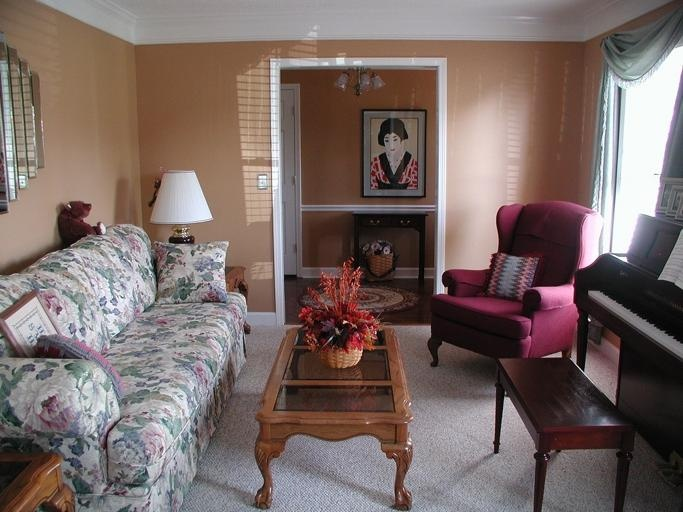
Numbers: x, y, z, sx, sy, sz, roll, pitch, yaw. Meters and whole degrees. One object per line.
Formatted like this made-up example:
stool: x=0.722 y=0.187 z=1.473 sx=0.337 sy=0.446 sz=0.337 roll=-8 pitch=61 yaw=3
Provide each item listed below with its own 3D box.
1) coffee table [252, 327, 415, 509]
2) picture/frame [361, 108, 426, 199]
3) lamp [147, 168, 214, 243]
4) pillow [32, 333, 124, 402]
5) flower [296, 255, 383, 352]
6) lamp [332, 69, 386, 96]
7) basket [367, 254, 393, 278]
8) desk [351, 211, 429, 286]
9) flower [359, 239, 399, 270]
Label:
coffee table: x=-0.032 y=0.789 z=2.768 sx=0.676 sy=0.437 sz=0.937 roll=-1 pitch=14 yaw=1
picture/frame: x=0.643 y=-1.336 z=6.397 sx=1.049 sy=1.449 sz=0.050 roll=0 pitch=16 yaw=2
lamp: x=-1.236 y=-0.470 z=4.470 sx=0.561 sy=0.798 sz=0.596 roll=-1 pitch=9 yaw=-1
pillow: x=-1.243 y=0.574 z=2.424 sx=0.343 sy=0.127 sz=0.331 roll=21 pitch=-4 yaw=-43
flower: x=-0.053 y=0.357 z=3.209 sx=0.599 sy=0.738 sz=0.712 roll=4 pitch=0 yaw=-9
lamp: x=0.165 y=-1.932 z=5.685 sx=0.472 sy=0.354 sz=0.482 roll=13 pitch=20 yaw=36
basket: x=0.454 y=0.098 z=6.454 sx=0.403 sy=0.398 sz=0.227 roll=0 pitch=4 yaw=0
desk: x=0.571 y=-0.128 z=6.335 sx=0.859 sy=0.840 sz=0.391 roll=0 pitch=5 yaw=2
flower: x=0.470 y=-0.021 z=6.342 sx=0.383 sy=0.285 sz=0.350 roll=2 pitch=1 yaw=3
